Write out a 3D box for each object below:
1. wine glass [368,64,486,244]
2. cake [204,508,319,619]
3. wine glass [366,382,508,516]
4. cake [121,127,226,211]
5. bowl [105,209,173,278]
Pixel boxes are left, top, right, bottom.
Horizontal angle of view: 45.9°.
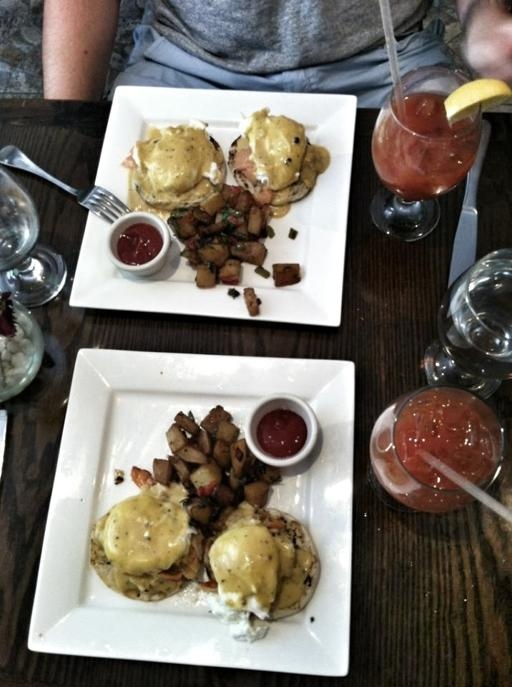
[{"bbox_3d":[0.383,-0.397,1.355,0.223,0.318,0.203,23,65,14],"label":"wine glass"},{"bbox_3d":[0.026,0.442,1.228,0.230,0.111,0.217,17,68,9],"label":"cake"},{"bbox_3d":[0.352,0.209,1.211,0.253,0.236,0.231,-6,79,11],"label":"wine glass"},{"bbox_3d":[-0.224,-0.511,1.546,0.264,0.077,0.236,7,69,10],"label":"cake"},{"bbox_3d":[-0.287,-0.255,1.500,0.169,0.074,0.155,0,81,2],"label":"bowl"}]
